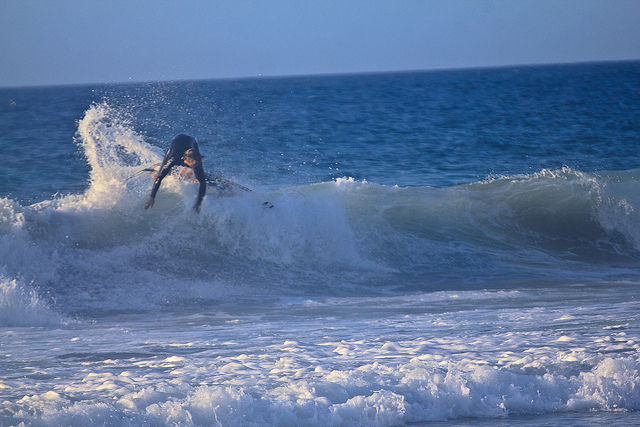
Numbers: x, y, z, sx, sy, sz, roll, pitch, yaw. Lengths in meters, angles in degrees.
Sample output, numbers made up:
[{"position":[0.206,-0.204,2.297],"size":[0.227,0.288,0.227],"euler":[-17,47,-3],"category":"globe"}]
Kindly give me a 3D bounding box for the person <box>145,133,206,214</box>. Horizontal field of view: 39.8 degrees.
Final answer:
[{"position":[-3.720,-1.049,23.458],"size":[1.637,1.998,0.679],"euler":[6,13,-18],"category":"person"}]

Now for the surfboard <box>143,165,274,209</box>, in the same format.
[{"position":[-3.210,-0.673,24.781],"size":[3.228,0.535,0.613],"euler":[16,-19,-23],"category":"surfboard"}]
